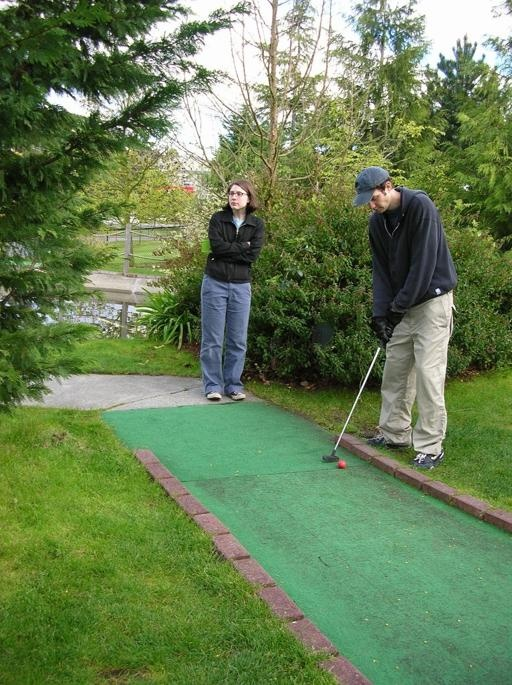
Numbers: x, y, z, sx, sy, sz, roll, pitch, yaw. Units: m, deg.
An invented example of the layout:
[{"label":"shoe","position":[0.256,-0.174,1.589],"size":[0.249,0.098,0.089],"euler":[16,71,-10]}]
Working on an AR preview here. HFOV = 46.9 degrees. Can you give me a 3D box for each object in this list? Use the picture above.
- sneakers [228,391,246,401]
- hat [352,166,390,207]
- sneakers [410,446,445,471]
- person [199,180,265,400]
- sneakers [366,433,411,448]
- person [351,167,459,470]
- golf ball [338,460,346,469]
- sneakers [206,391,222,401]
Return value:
[{"label":"sneakers","position":[-0.191,0.526,5.737],"size":[0.072,0.068,0.187],"euler":[1,-2,-36]},{"label":"hat","position":[0.772,-1.056,4.004],"size":[0.215,0.278,0.219],"euler":[8,8,6]},{"label":"sneakers","position":[1.217,0.847,4.203],"size":[0.261,0.099,0.095],"euler":[7,-6,-39]},{"label":"person","position":[-0.252,-0.497,5.668],"size":[0.546,2.075,0.511],"euler":[6,9,-6]},{"label":"sneakers","position":[1.014,0.753,4.585],"size":[0.325,0.120,0.114],"euler":[8,6,20]},{"label":"person","position":[1.050,-0.177,4.250],"size":[0.863,2.019,0.629],"euler":[10,9,17]},{"label":"golf ball","position":[0.579,0.840,4.065],"size":[0.049,0.045,0.055],"euler":[-4,-8,0]},{"label":"sneakers","position":[-0.399,0.509,5.624],"size":[0.153,0.070,0.111],"euler":[3,8,-22]}]
